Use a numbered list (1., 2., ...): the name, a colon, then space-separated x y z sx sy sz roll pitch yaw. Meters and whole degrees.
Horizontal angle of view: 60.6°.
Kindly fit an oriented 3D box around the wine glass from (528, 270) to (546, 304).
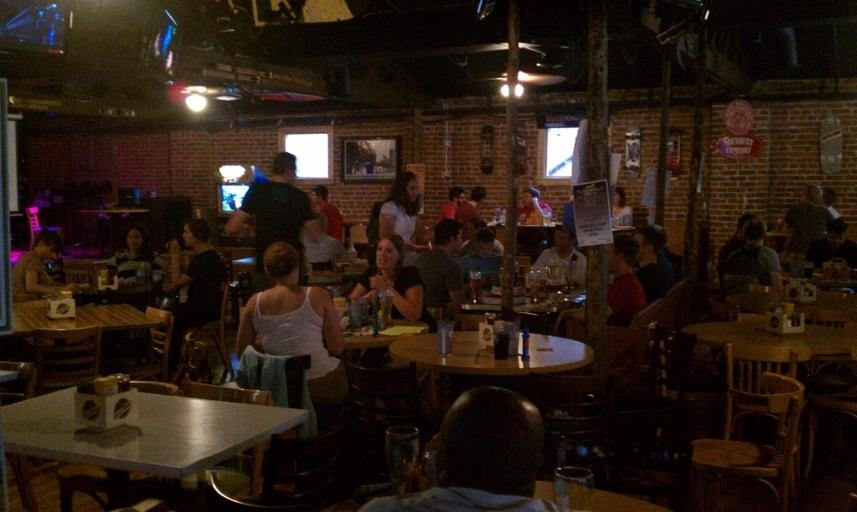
1. wine glass: 1.159 0.300 7.880 0.162 0.293 0.672 -1 5 8

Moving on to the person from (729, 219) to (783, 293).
1. person: 3.763 -0.045 8.536 0.640 0.763 0.504 2 7 27

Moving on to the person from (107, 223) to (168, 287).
1. person: -3.515 -0.010 8.805 0.602 0.697 0.774 -4 6 -21

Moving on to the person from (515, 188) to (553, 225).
1. person: 1.868 -0.892 13.062 0.548 0.619 0.933 -1 6 7

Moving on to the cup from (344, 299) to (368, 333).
1. cup: -0.644 0.545 6.769 0.253 0.238 0.252 0 0 0

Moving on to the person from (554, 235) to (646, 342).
1. person: 1.713 0.307 7.332 0.946 1.029 0.791 -3 9 -1

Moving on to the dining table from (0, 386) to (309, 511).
1. dining table: -1.878 1.142 4.886 1.990 0.335 0.754 0 5 11

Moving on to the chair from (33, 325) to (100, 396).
1. chair: -3.209 0.919 6.493 0.463 0.702 0.489 -5 28 -29

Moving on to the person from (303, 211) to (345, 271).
1. person: -1.442 -0.248 9.896 0.527 0.790 0.348 1 33 14

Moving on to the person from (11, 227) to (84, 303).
1. person: -4.611 0.073 8.714 0.615 0.732 1.916 -5 6 -29

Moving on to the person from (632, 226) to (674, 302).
1. person: 2.373 0.105 7.812 0.480 0.717 0.941 4 10 33
